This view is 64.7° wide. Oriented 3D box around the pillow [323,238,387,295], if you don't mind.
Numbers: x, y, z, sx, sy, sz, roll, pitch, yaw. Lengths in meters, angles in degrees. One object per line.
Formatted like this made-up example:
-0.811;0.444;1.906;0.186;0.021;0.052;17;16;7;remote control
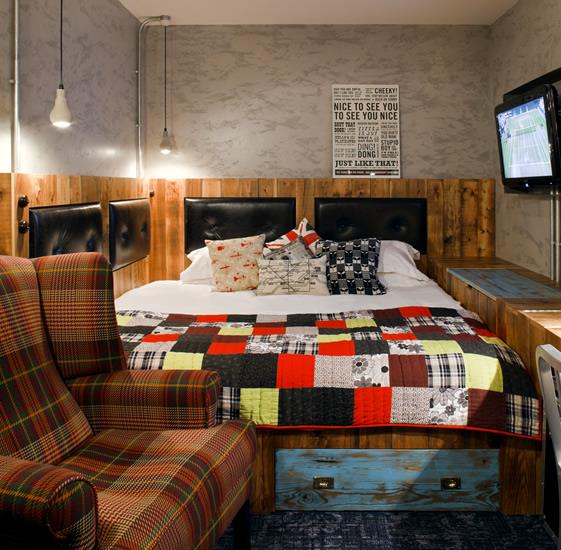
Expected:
0.491;-0.062;3.052;0.413;0.361;0.368;-1;6;3;pillow

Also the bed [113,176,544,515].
0.119;-0.045;2.926;2.510;1.130;2.246;-1;14;-2;bed

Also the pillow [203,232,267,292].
-0.290;-0.069;3.134;0.438;0.367;0.154;-7;-3;22;pillow

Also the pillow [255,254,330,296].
0.076;-0.002;2.960;0.548;0.259;0.123;-1;-6;27;pillow

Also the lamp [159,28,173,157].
-0.938;-1.426;3.586;0.131;0.839;0.121;11;25;10;lamp
